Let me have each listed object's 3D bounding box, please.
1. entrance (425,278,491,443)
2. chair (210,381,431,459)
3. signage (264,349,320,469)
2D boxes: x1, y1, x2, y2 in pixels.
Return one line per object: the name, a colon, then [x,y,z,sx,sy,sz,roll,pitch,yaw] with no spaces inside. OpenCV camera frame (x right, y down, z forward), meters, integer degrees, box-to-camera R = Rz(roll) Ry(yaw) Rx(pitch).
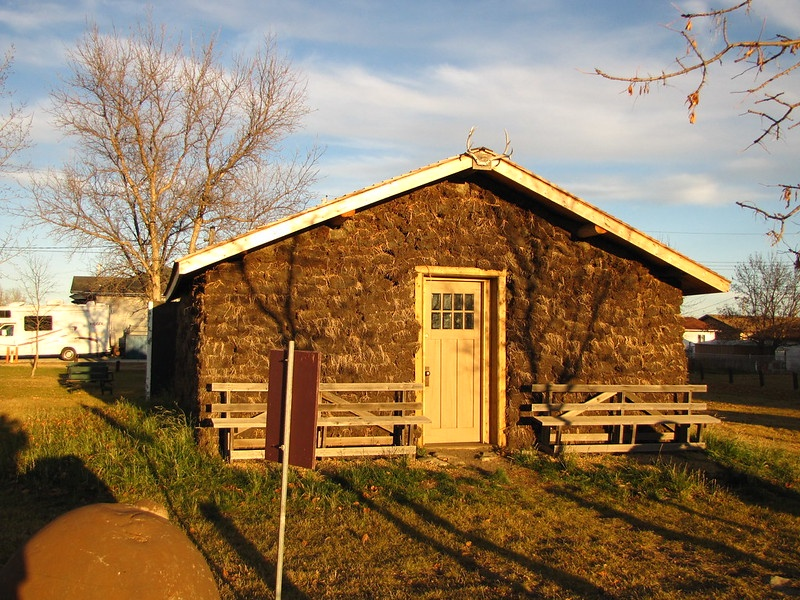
entrance: [0.968,1.107,14.654,1.196,2.964,0.171,-2,11,-4]
chair: [-1.347,1.995,13.410,3.500,1.184,0.900,1,2,-13]
signage: [-1.243,1.231,9.338,0.708,1.320,0.129,1,-4,26]
